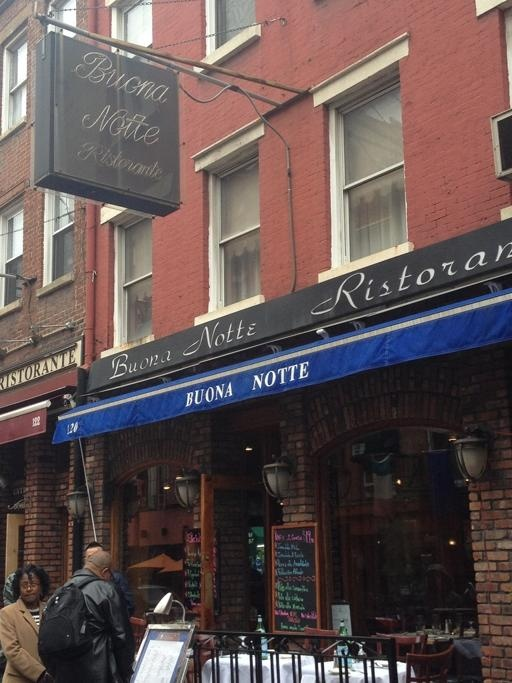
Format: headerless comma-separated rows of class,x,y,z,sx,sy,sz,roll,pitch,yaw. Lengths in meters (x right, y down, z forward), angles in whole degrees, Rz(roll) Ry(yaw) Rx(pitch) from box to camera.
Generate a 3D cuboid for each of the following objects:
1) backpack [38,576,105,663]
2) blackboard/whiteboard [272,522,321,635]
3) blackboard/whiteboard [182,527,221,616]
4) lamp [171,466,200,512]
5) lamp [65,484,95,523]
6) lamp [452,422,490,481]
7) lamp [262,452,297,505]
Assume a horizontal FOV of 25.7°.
backpack,-1.221,1.772,7.238,0.332,0.525,0.316,-30,-38,32
blackboard/whiteboard,0.390,2.187,10.343,0.048,1.345,0.719,16,-27,-33
blackboard/whiteboard,-0.619,2.438,11.947,0.472,0.894,0.070,7,-15,-34
lamp,-0.741,1.605,12.367,0.382,0.396,0.386,0,-12,14
lamp,-2.142,1.941,13.574,0.288,0.414,0.249,8,-19,-36
lamp,1.711,0.884,8.825,0.321,0.433,0.328,3,-18,-2
lamp,0.200,1.297,10.758,0.242,0.458,0.335,1,-17,-18
